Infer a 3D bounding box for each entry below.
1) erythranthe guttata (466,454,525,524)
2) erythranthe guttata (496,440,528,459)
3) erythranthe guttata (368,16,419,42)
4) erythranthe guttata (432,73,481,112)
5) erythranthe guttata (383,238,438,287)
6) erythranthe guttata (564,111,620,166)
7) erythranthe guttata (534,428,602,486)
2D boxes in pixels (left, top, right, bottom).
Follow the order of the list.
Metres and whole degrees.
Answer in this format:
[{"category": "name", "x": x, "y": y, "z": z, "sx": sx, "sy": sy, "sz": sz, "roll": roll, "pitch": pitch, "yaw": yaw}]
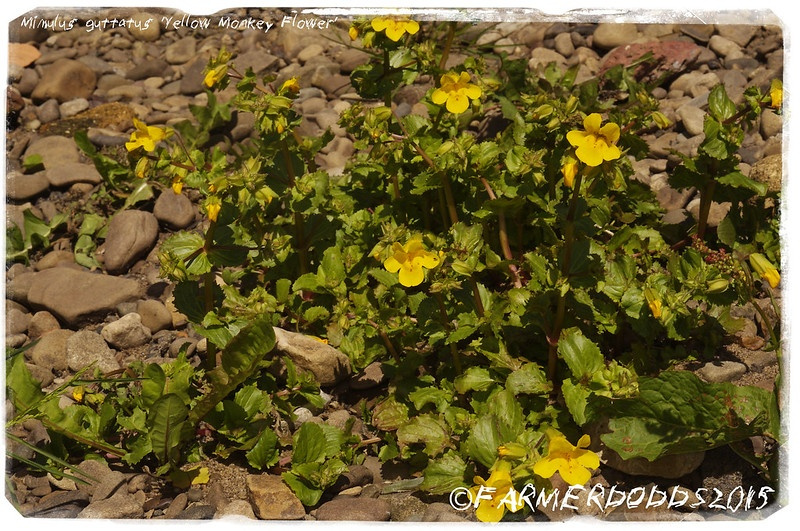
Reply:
[{"category": "erythranthe guttata", "x": 0.528, "y": 1.253, "z": 4.148, "sx": 0.276, "sy": 0.197, "sz": 0.375, "roll": 13, "pitch": 90, "yaw": 9}, {"category": "erythranthe guttata", "x": 0.619, "y": 1.012, "z": 4.140, "sx": 0.145, "sy": 0.058, "sz": 0.081, "roll": 7, "pitch": 86, "yaw": 7}, {"category": "erythranthe guttata", "x": -0.034, "y": -1.536, "z": 4.832, "sx": 0.290, "sy": 0.064, "sz": 0.187, "roll": 33, "pitch": 62, "yaw": 31}, {"category": "erythranthe guttata", "x": 0.353, "y": -1.074, "z": 4.683, "sx": 0.267, "sy": 0.107, "sz": 0.247, "roll": -31, "pitch": 97, "yaw": 11}, {"category": "erythranthe guttata", "x": 0.076, "y": -0.016, "z": 4.196, "sx": 0.315, "sy": 0.193, "sz": 0.190, "roll": -10, "pitch": 49, "yaw": 0}, {"category": "erythranthe guttata", "x": 1.024, "y": -0.642, "z": 3.975, "sx": 0.262, "sy": 0.288, "sz": 0.191, "roll": -11, "pitch": 50, "yaw": 0}, {"category": "erythranthe guttata", "x": 0.919, "y": 1.047, "z": 4.064, "sx": 0.341, "sy": 0.148, "sz": 0.326, "roll": -4, "pitch": 86, "yaw": 6}]
